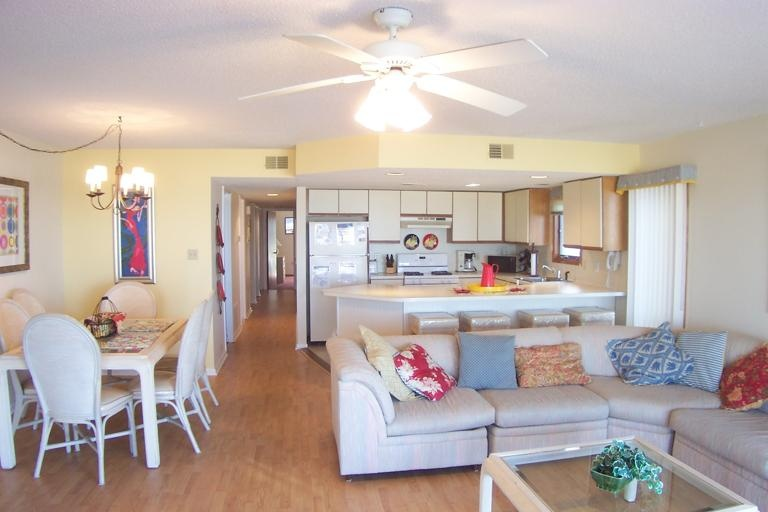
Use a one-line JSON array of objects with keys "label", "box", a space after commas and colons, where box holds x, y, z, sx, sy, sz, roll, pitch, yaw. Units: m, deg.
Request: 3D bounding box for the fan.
[{"label": "fan", "box": [0.217, -1.183, 3.384, 1.195, 0.389, 1.068, -1, -8, 7]}]

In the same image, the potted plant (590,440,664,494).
[{"label": "potted plant", "box": [1.715, 1.479, 3.950, 0.446, 0.275, 0.356, 2, -2, 8]}]

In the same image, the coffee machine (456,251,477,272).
[{"label": "coffee machine", "box": [1.280, 0.099, 8.739, 0.400, 0.340, 0.292, 0, -1, -14]}]

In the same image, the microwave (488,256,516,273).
[{"label": "microwave", "box": [1.850, 0.105, 8.517, 0.505, 0.288, 0.319, -2, 0, 7]}]

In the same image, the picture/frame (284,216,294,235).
[{"label": "picture/frame", "box": [-2.678, -0.866, 15.702, 0.200, 0.472, 0.287, 1, 14, 2]}]

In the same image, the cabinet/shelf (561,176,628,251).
[{"label": "cabinet/shelf", "box": [2.554, -0.518, 6.610, 0.325, 0.781, 0.868, 3, -7, -11]}]

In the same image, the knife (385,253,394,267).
[{"label": "knife", "box": [0.103, 0.073, 8.531, 0.155, 0.174, 0.058, -3, -4, 5]}]

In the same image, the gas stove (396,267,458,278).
[{"label": "gas stove", "box": [0.661, 0.259, 8.364, 0.839, 0.061, 0.475, -1, 12, -9]}]

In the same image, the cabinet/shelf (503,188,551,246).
[{"label": "cabinet/shelf", "box": [2.078, -0.570, 7.893, 0.311, 0.721, 0.831, 3, -5, -11]}]

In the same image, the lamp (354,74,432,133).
[{"label": "lamp", "box": [0.033, -0.978, 3.782, 0.414, 0.229, 0.391, 1, -3, -16]}]
